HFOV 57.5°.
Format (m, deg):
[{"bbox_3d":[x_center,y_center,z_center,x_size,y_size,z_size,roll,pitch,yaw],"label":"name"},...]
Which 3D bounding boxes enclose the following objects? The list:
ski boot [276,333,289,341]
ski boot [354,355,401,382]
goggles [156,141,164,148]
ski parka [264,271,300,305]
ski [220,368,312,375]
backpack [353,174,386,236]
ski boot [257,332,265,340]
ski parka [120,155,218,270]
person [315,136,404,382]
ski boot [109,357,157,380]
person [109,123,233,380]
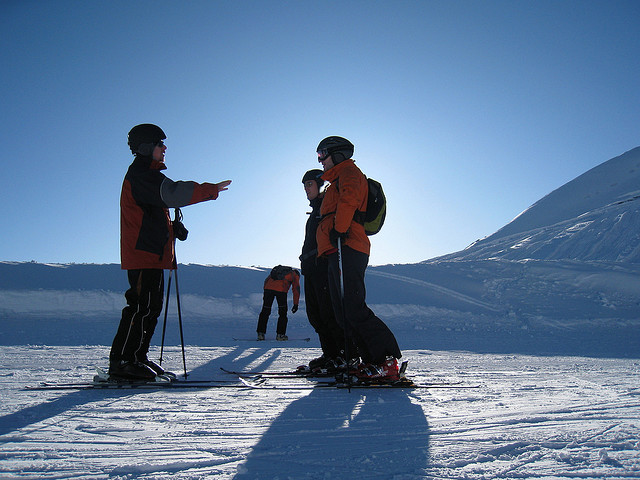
[{"bbox_3d":[-0.645,1.636,9.811,0.182,0.153,0.092,1,0,-16],"label":"ski boot"},{"bbox_3d":[0.485,1.081,4.861,0.403,0.195,0.154,1,-11,9],"label":"ski boot"},{"bbox_3d":[-1.423,-0.878,5.174,0.055,0.057,0.085,-4,7,-16],"label":"goggles"},{"bbox_3d":[-0.710,0.745,10.032,0.732,0.604,0.457,16,-13,-32],"label":"ski parka"},{"bbox_3d":[-0.512,1.218,5.402,0.771,0.070,0.072,1,-2,-11],"label":"ski"},{"bbox_3d":[0.563,-0.308,5.269,0.329,0.499,0.401,2,-2,41],"label":"backpack"},{"bbox_3d":[-0.991,1.593,9.719,0.143,0.119,0.103,1,-1,-7],"label":"ski boot"},{"bbox_3d":[-1.341,-0.270,5.038,0.742,0.994,0.382,-3,7,-11],"label":"ski parka"},{"bbox_3d":[0.320,0.174,4.948,0.664,2.181,0.986,-2,7,-2],"label":"person"},{"bbox_3d":[-1.531,1.064,4.829,0.444,0.163,0.149,5,-5,-8],"label":"ski boot"},{"bbox_3d":[-1.461,0.070,4.992,0.681,2.192,0.971,4,9,39],"label":"person"}]
